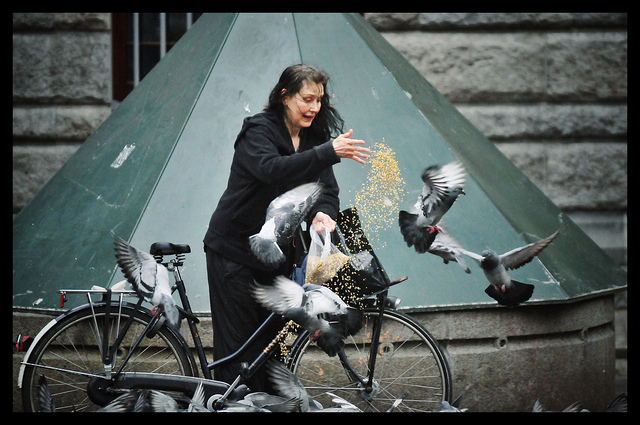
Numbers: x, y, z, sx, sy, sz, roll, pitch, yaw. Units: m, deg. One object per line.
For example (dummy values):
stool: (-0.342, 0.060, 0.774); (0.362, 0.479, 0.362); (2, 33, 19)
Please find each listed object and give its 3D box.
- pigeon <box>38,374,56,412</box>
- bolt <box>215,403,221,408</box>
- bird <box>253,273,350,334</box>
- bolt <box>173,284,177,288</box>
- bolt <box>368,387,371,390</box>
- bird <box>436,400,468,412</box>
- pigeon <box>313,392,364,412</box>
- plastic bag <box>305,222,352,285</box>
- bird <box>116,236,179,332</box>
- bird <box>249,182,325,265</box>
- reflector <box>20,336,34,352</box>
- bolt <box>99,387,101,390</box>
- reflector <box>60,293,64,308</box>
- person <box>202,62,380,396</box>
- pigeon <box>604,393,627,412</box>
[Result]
pigeon: (-2.363, 1.572, 8.287); (0.159, 0.324, 0.059); (0, 2, -32)
bolt: (-0.867, 1.654, 8.184); (0.044, 0.039, 0.005); (2, 2, 12)
bird: (-0.129, 0.860, 8.323); (0.645, 0.474, 0.623); (22, -9, 42)
bolt: (-1.242, 0.637, 8.230); (0.038, 0.018, 0.024); (7, 18, 7)
bolt: (0.436, 1.529, 8.277); (0.017, 0.022, 0.012); (-2, 22, 11)
bird: (1.176, 1.706, 8.374); (0.248, 0.089, 0.080); (3, -5, -18)
pigeon: (0.169, 1.662, 8.321); (0.255, 0.174, 0.103); (13, 10, -25)
plastic bag: (0.087, 0.379, 8.395); (0.339, 0.531, 0.420); (3, -11, -38)
bird: (-1.423, 0.623, 8.243); (0.318, 0.581, 0.980); (-26, 28, -20)
bird: (-0.271, 0.084, 8.453); (0.476, 0.655, 0.680); (-23, 1, 13)
reflector: (-2.558, 1.145, 8.321); (0.103, 0.125, 0.036); (4, 14, -15)
bolt: (-1.878, 1.501, 8.145); (0.020, 0.018, 0.004); (-24, 4, 5)
reflector: (-2.234, 0.763, 8.279); (0.029, 0.132, 0.069); (1, 2, -17)
person: (-0.381, 0.096, 8.240); (1.238, 2.753, 0.374); (1, 2, -7)
pigeon: (2.675, 1.709, 8.583); (0.193, 0.169, 0.076); (2, 2, 14)
